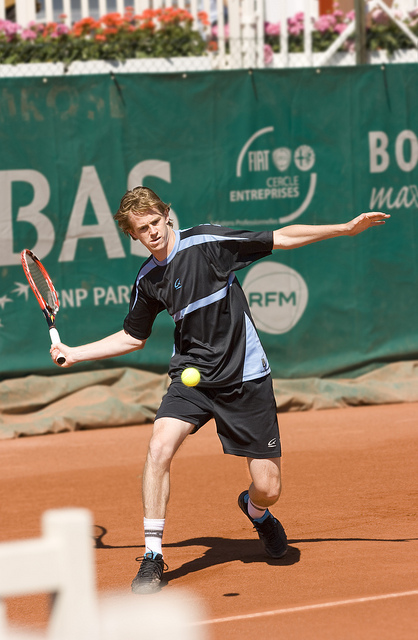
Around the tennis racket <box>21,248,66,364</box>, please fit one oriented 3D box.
[{"bbox_3d":[-0.848,-0.143,3.922,0.169,0.474,1.156,-4,3,-13],"label":"tennis racket"}]
